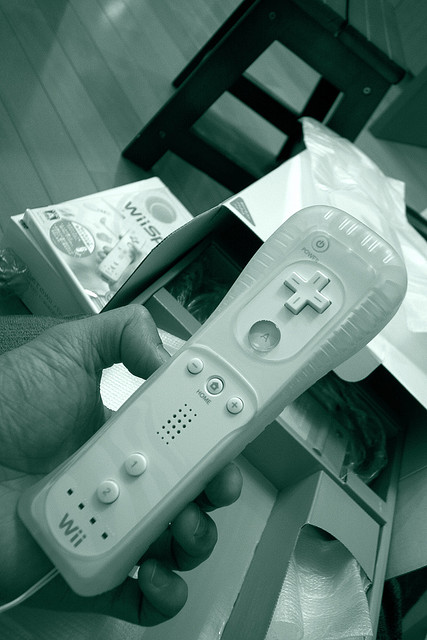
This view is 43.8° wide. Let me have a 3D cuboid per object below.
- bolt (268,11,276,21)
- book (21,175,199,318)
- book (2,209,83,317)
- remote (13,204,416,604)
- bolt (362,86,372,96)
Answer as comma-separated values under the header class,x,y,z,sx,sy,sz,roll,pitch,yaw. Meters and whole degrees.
class,x,y,z,sx,sy,sz,roll,pitch,yaw
bolt,0.095,-0.493,0.857,0.012,0.010,0.009,5,14,-2
book,-0.179,-0.134,0.809,0.312,0.059,0.209,-29,78,-43
book,-0.222,-0.082,0.828,0.166,0.039,0.156,45,6,12
remote,0.052,0.037,0.550,0.182,0.538,0.108,45,-7,21
bolt,0.268,-0.400,0.924,0.016,0.010,0.011,9,14,14
